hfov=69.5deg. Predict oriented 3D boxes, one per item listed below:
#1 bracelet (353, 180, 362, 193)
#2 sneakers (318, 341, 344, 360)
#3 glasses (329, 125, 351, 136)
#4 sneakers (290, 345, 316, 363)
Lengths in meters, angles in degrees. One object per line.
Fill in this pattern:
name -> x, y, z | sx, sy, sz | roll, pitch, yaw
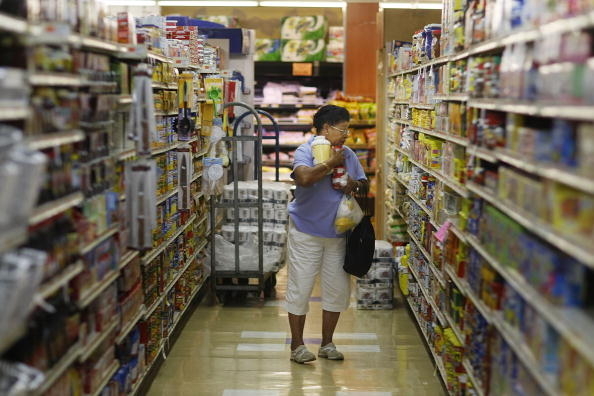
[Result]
bracelet -> 0.561, -0.104, 3.943 | 0.044, 0.094, 0.075 | -2, 9, 18
sneakers -> 0.315, 1.481, 4.168 | 0.121, 0.121, 0.249 | 2, -3, -42
glasses -> 0.378, -0.614, 3.846 | 0.109, 0.033, 0.108 | 31, 15, 27
sneakers -> 0.050, 1.477, 4.023 | 0.123, 0.115, 0.251 | 2, -5, -39
